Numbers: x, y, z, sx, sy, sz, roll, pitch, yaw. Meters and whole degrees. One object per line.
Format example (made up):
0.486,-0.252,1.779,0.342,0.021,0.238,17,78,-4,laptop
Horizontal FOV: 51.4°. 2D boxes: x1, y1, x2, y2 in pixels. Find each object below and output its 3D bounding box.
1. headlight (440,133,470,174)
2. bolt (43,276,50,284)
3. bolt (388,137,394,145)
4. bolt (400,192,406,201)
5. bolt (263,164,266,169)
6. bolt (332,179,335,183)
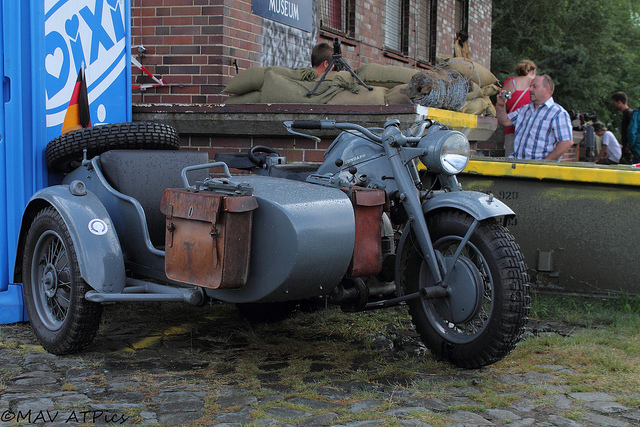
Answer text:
0.993,-0.449,4.960,0.323,0.322,0.188,-3,5,-37,headlight
-2.209,0.535,5.374,0.046,0.065,0.092,-3,-1,-3,bolt
0.536,-0.550,5.039,0.059,0.059,0.017,4,5,44,bolt
0.624,-0.131,5.011,0.054,0.061,0.022,-1,-5,11,bolt
-0.473,-0.395,5.670,0.022,0.022,0.021,7,15,42,bolt
0.102,-0.246,5.064,0.024,0.023,0.006,5,13,8,bolt
